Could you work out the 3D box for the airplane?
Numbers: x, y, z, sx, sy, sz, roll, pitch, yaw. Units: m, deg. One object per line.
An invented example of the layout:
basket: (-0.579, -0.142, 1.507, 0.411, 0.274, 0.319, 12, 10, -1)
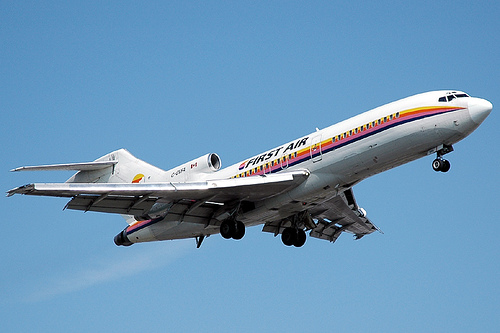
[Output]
airplane: (0.927, 0.386, 26.001, 9.753, 2.678, 8.154, -22, -23, 26)
